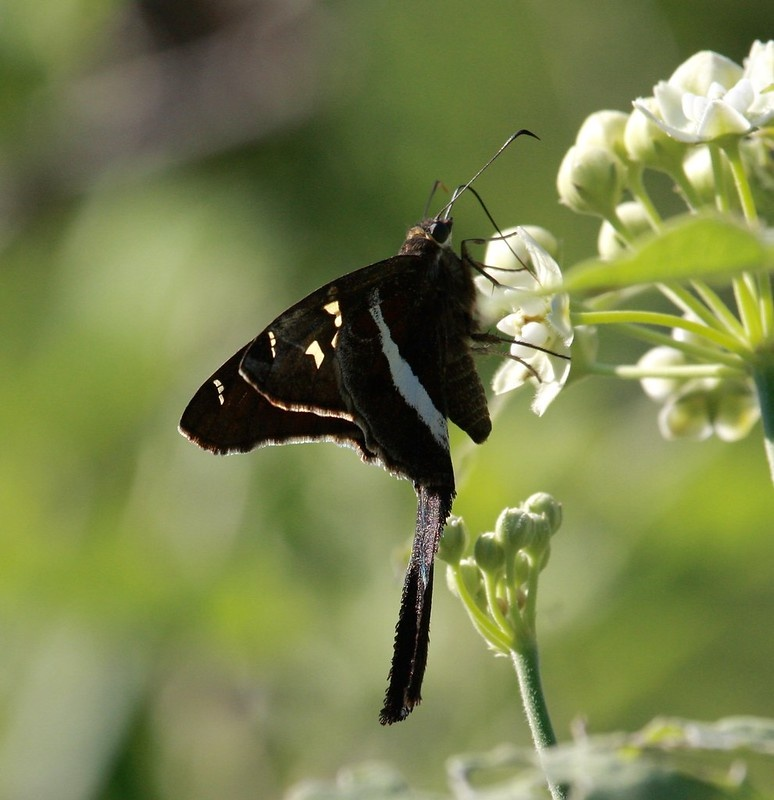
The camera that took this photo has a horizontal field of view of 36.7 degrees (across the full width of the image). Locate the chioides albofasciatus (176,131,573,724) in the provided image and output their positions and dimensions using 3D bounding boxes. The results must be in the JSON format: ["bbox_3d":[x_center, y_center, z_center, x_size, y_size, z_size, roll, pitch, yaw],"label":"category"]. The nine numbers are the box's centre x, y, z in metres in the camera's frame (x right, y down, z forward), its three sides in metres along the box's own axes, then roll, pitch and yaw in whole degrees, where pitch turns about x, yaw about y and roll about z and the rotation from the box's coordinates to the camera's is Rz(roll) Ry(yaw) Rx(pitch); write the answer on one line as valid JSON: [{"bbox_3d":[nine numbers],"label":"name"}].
[{"bbox_3d":[-0.084,-0.045,3.700,0.854,2.263,1.097,-1,2,27],"label":"chioides albofasciatus"}]
